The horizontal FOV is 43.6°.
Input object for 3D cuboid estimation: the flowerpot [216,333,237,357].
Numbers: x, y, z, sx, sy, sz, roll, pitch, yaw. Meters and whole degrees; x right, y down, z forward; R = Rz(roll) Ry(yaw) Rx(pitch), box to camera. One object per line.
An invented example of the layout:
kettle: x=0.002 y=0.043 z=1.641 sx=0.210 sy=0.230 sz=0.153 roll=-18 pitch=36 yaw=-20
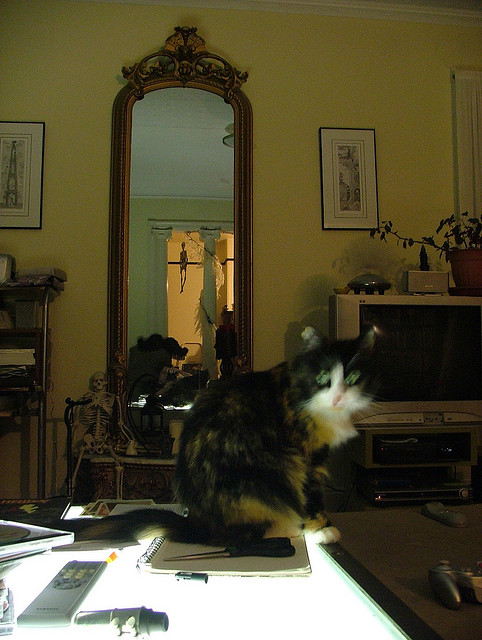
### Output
flowerpot: x=-0.063 y=0.100 z=2.564 sx=0.090 sy=0.094 sz=0.082 roll=1 pitch=-3 yaw=-3

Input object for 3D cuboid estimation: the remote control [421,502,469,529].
remote control: x=0.365 y=0.347 z=1.075 sx=0.057 sy=0.022 sz=0.113 roll=3 pitch=2 yaw=-7

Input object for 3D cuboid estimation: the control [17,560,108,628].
control: x=-0.210 y=0.327 z=0.714 sx=0.062 sy=0.019 sz=0.174 roll=1 pitch=2 yaw=2

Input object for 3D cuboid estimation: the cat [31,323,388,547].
cat: x=-0.025 y=0.157 z=0.854 sx=0.444 sy=0.282 sz=0.165 roll=3 pitch=1 yaw=5

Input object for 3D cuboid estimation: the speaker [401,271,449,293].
speaker: x=0.767 y=-0.162 z=2.553 sx=0.196 sy=0.091 sz=0.125 roll=3 pitch=1 yaw=21

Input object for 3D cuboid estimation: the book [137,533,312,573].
book: x=-0.020 y=0.313 z=0.801 sx=0.222 sy=0.040 sz=0.100 roll=3 pitch=1 yaw=5
